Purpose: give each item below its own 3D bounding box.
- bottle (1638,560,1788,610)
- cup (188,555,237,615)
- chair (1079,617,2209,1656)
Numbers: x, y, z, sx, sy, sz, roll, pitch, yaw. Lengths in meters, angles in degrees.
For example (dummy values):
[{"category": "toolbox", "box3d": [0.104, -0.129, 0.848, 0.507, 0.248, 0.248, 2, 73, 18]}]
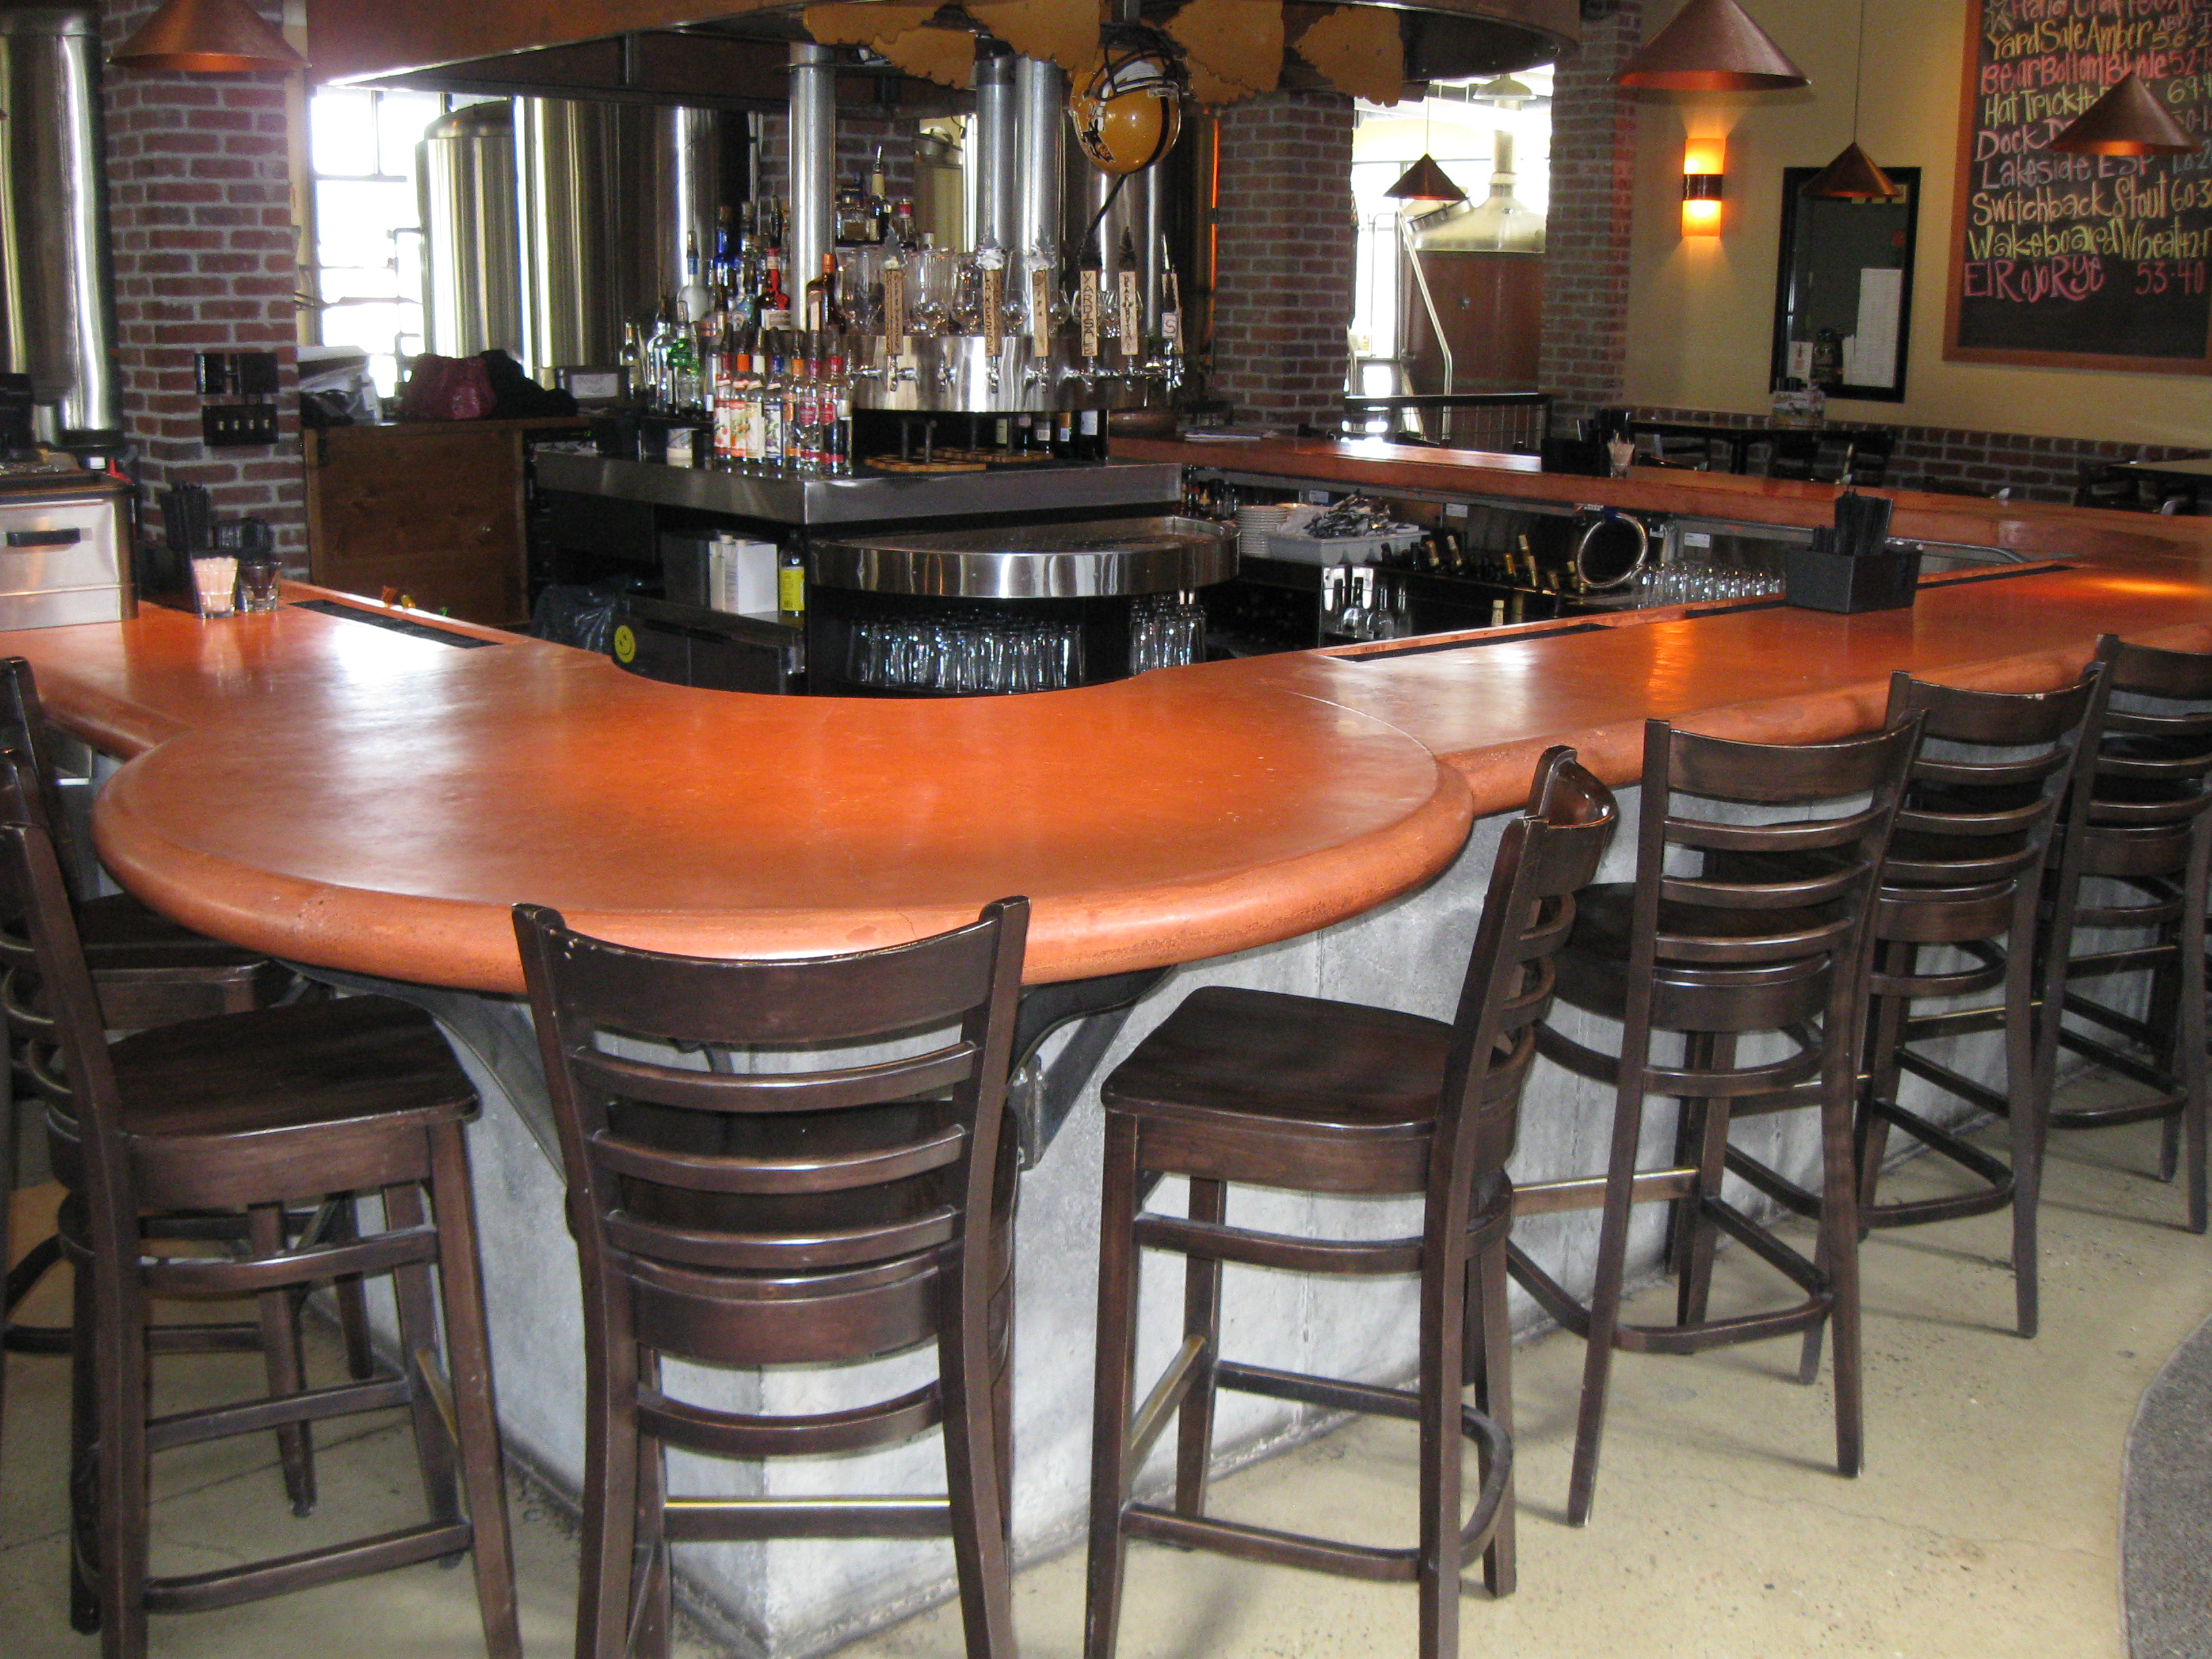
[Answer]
[{"category": "bottle", "box3d": [1.796, -0.729, 5.648, 0.424, 0.118, 0.359, -1, 11, -7]}, {"category": "cup", "box3d": [-1.954, -0.540, 4.187, 0.101, 0.127, 0.078, -13, 19, -33]}, {"category": "chair", "box3d": [0.893, 0.533, 3.140, 1.760, 0.752, 0.439, -12, 22, -38]}]
